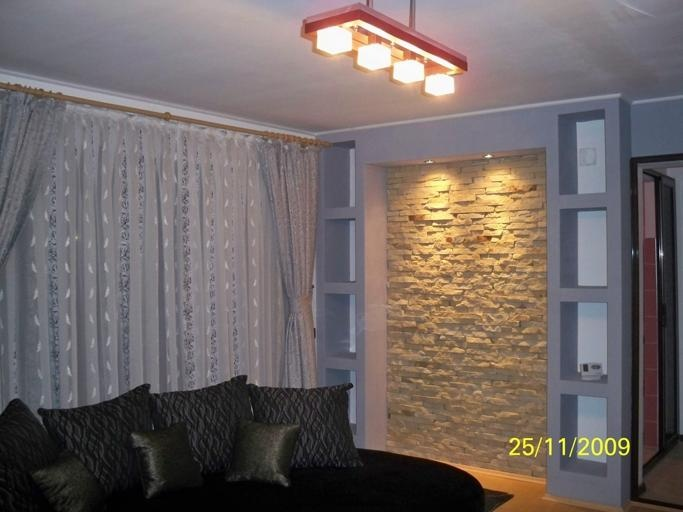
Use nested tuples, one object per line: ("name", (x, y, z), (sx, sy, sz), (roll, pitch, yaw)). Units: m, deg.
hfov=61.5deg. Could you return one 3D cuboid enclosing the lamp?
("lamp", (0.265, -1.098, 3.143), (0.972, 0.229, 0.346), (5, -6, -42))
